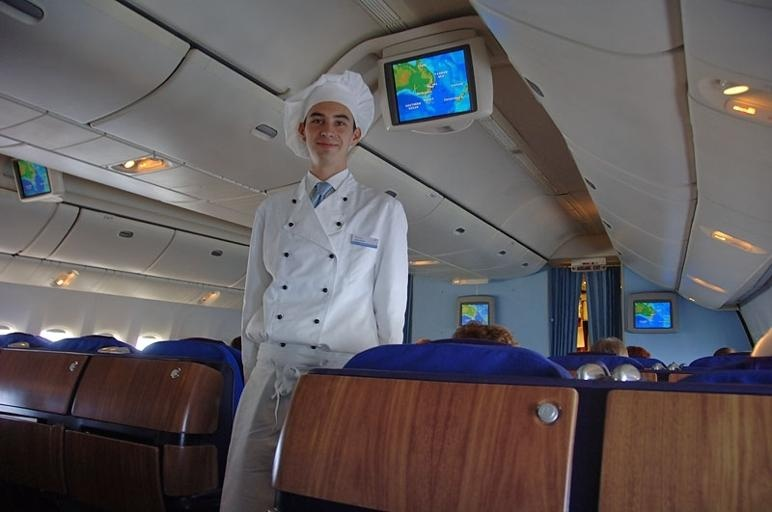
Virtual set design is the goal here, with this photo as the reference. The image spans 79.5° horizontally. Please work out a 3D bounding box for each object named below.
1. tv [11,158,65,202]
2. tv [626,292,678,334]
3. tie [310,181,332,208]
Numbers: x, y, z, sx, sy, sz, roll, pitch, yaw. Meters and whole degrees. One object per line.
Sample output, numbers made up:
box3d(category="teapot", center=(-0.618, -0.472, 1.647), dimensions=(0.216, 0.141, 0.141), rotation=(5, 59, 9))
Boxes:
box3d(category="tv", center=(-3.836, -0.870, 5.130), dimensions=(0.351, 0.366, 0.206), rotation=(18, 22, 4))
box3d(category="tv", center=(5.076, 1.095, 8.772), dimensions=(0.765, 0.767, 0.084), rotation=(-4, -10, 28))
box3d(category="tie", center=(-0.256, -0.259, 2.031), dimensions=(0.037, 0.103, 0.102), rotation=(24, 13, -48))
